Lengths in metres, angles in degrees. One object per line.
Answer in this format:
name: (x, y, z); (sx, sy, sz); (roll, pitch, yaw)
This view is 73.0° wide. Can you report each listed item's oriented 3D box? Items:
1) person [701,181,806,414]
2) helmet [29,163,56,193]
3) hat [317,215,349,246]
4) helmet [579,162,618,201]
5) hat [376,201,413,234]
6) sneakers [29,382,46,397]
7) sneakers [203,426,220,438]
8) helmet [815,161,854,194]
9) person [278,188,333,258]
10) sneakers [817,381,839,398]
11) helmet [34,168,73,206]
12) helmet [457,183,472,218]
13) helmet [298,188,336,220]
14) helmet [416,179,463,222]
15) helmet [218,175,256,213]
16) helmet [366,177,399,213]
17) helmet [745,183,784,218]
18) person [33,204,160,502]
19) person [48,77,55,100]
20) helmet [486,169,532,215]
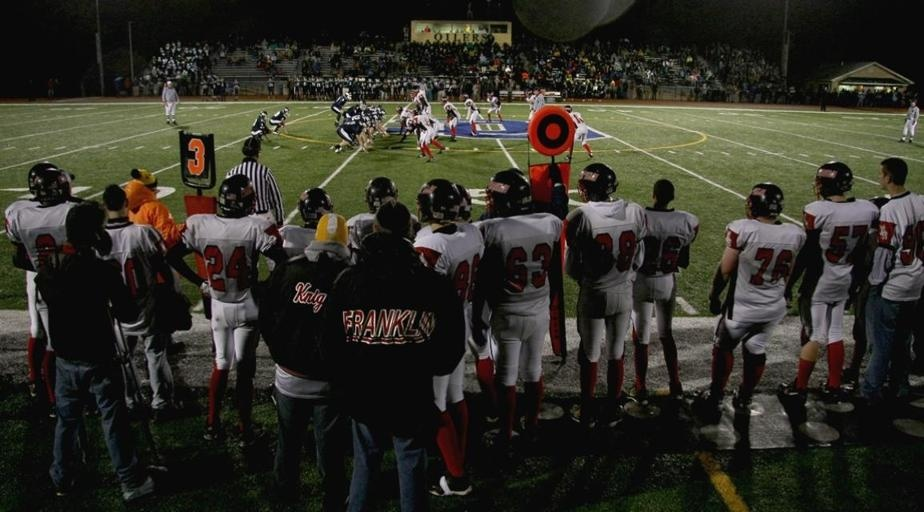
person: (3.603, 0.538, 7.764); (0.968, 2.840, 0.409); (1, 11, 6)
helmet: (-5.220, -0.974, 7.717); (0.269, 0.352, 0.470); (-10, 15, -40)
hat: (-1.369, -0.290, 6.654); (0.271, 0.318, 0.363); (5, 13, 1)
helmet: (1.690, -0.945, 7.769); (0.539, 0.491, 0.435); (18, 19, 37)
hat: (-0.686, -0.380, 6.387); (0.277, 0.346, 0.356); (2, 27, -2)
sneakers: (-5.441, 1.710, 8.005); (0.155, 0.150, 0.187); (1, 4, 11)
sneakers: (-3.018, 2.135, 7.520); (0.128, 0.060, 0.170); (-2, 5, -41)
helmet: (4.798, -0.976, 8.100); (0.405, 0.441, 0.465); (0, 7, -26)
person: (-1.946, -0.273, 7.644); (0.641, 0.840, 0.550); (10, 49, -16)
sneakers: (4.696, 1.730, 8.051); (0.165, 0.148, 0.203); (2, 5, -12)
helmet: (-5.009, -0.816, 7.685); (0.389, 0.482, 0.245); (11, 11, -10)
helmet: (0.028, -0.633, 7.183); (0.268, 0.337, 0.349); (1, 14, 1)
helmet: (-1.805, -0.629, 7.653); (0.357, 0.386, 0.413); (8, 45, -8)
helmet: (-0.289, -0.620, 7.037); (0.438, 0.493, 0.505); (2, 35, -8)
helmet: (-2.723, -0.722, 7.434); (0.382, 0.468, 0.418); (7, -22, -6)
helmet: (-1.074, -0.803, 8.215); (0.467, 0.508, 0.540); (-7, 16, -13)
helmet: (3.766, -0.686, 7.779); (0.393, 0.422, 0.463); (-3, 0, -13)
person: (-4.077, 1.058, 6.909); (1.083, 3.257, 0.592); (0, 11, 4)
person: (-25.557, -10.472, 38.836); (0.366, 1.062, 1.218); (-7, 13, -32)
helmet: (0.510, -0.772, 7.428); (0.473, 0.504, 0.528); (-3, 20, -8)
